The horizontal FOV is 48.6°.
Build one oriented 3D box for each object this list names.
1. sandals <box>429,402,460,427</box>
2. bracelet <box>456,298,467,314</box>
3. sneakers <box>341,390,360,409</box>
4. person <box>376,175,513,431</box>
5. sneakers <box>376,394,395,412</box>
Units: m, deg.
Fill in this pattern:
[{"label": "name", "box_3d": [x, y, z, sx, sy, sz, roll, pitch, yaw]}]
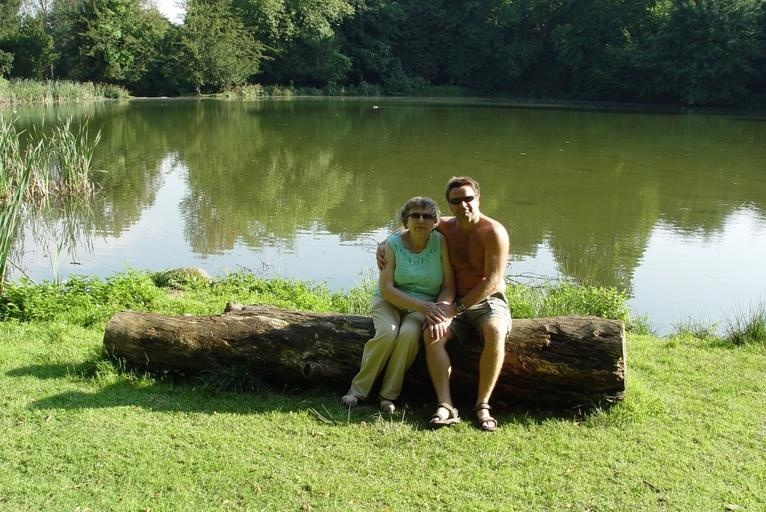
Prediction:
[{"label": "sandals", "box_3d": [0.785, 2.013, 10.631, 0.180, 0.232, 0.509, -6, -11, 35]}, {"label": "bracelet", "box_3d": [1.015, 0.641, 10.887, 0.086, 0.127, 0.131, 47, 37, 7]}, {"label": "sneakers", "box_3d": [-0.406, 1.846, 10.914, 0.213, 0.186, 0.152, 0, 6, -38]}, {"label": "person", "box_3d": [1.143, 0.574, 10.868, 1.083, 3.113, 0.790, 4, 5, 8]}, {"label": "sneakers", "box_3d": [0.058, 1.916, 10.808, 0.130, 0.216, 0.213, 2, -6, -42]}]
